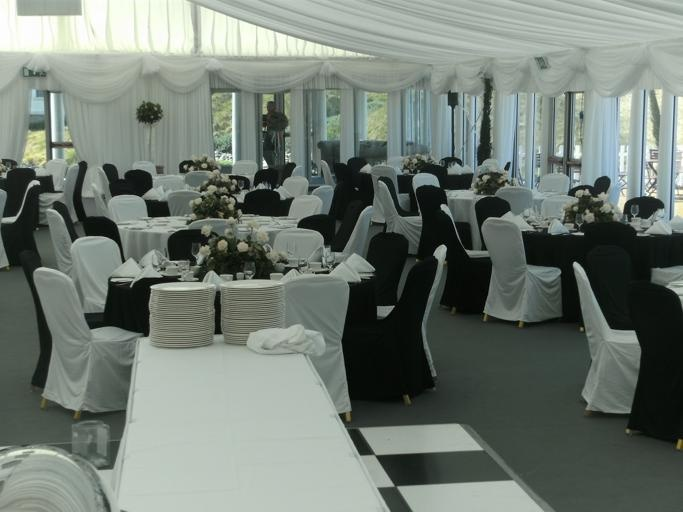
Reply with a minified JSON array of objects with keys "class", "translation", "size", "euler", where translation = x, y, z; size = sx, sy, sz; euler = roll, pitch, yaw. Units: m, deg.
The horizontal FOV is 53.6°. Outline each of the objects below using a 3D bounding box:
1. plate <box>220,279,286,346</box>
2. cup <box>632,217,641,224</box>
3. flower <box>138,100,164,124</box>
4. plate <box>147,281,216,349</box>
[{"class":"plate","translation":[-0.429,0.254,3.248],"size":[0.262,0.260,0.266],"euler":[-1,4,-14]},{"class":"cup","translation":[3.221,-0.384,7.410],"size":[0.072,0.061,0.081],"euler":[-1,2,1]},{"class":"flower","translation":[-4.653,-3.503,16.530],"size":[0.660,0.569,0.657],"euler":[-5,12,-25]},{"class":"plate","translation":[-0.749,0.273,3.175],"size":[0.247,0.265,0.289],"euler":[1,1,0]}]
